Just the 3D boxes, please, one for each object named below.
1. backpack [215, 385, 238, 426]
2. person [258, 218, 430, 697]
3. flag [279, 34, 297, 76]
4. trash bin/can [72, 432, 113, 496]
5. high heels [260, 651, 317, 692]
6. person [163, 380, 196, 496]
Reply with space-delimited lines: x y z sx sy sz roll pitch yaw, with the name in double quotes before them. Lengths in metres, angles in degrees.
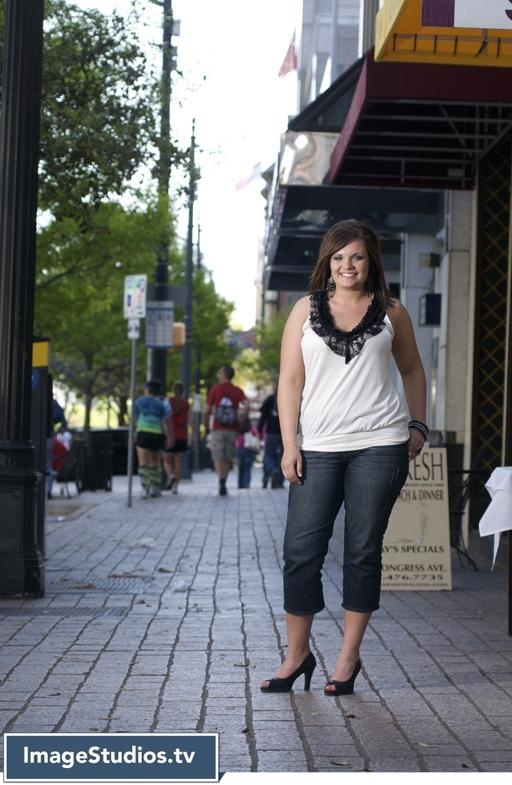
"backpack" -0.410 0.201 15.760 0.471 0.680 0.363 0 -17 1
"person" 0.327 0.239 4.008 0.625 1.788 0.376 0 2 1
"flag" 0.582 -6.058 19.558 0.293 0.657 0.555 0 3 2
"trash bin/can" -2.319 1.022 15.531 0.588 0.908 0.697 1 0 4
"high heels" 0.131 1.055 4.092 0.259 0.187 0.096 0 -3 -1
"person" -1.153 0.678 16.372 0.491 1.587 0.409 1 5 -13
